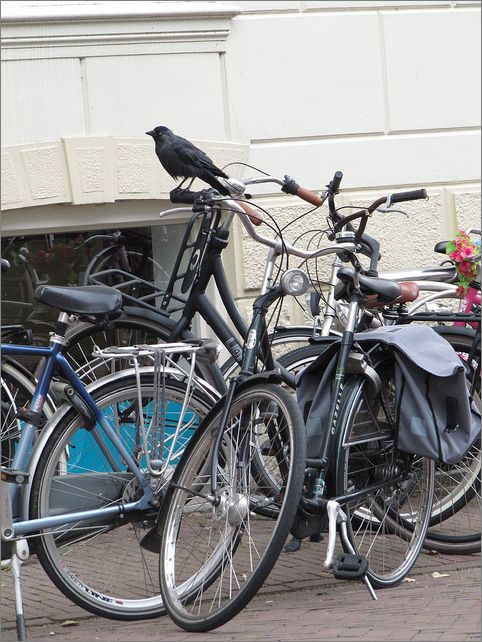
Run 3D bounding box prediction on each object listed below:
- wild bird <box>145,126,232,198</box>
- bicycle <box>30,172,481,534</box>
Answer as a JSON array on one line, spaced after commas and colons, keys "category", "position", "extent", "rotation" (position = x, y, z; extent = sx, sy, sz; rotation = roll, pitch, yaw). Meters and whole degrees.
[{"category": "wild bird", "position": [-0.203, -0.667, 2.926], "extent": [0.465, 0.278, 0.172], "rotation": [11, -1, 5]}, {"category": "bicycle", "position": [0.274, 0.182, 2.707], "extent": [2.113, 1.175, 0.999], "rotation": [2, 0, -26]}]
